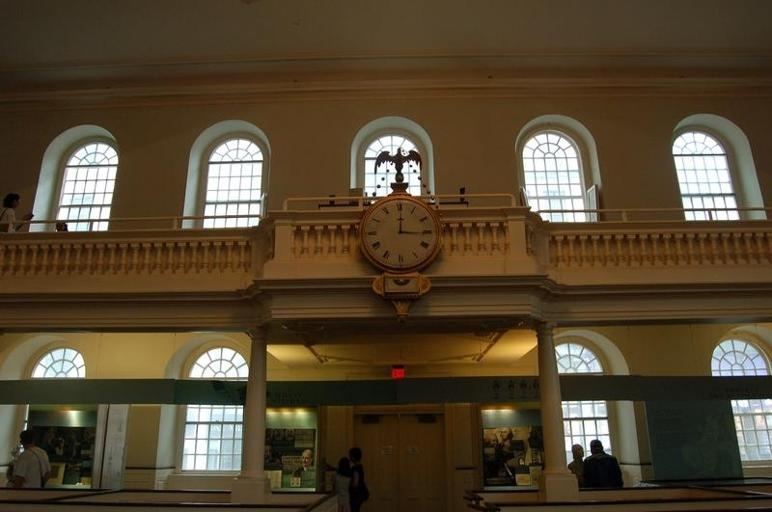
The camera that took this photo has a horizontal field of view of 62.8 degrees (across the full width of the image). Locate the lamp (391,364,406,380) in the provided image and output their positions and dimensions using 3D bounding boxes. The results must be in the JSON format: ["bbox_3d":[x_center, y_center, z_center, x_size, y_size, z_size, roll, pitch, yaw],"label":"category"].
[{"bbox_3d":[0.299,2.881,15.704,0.375,0.372,0.376,-1,-10,5],"label":"lamp"}]

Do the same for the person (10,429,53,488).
[{"bbox_3d":[-7.266,4.218,13.076,0.620,1.127,0.565,8,-23,-25],"label":"person"}]

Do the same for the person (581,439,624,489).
[{"bbox_3d":[4.838,4.858,14.063,0.813,1.456,0.673,-11,-17,9],"label":"person"}]
